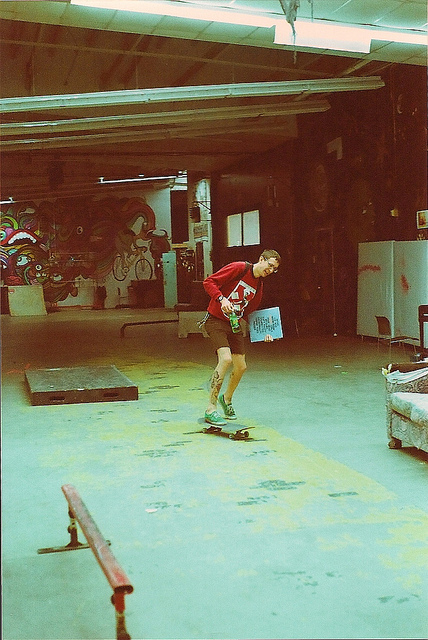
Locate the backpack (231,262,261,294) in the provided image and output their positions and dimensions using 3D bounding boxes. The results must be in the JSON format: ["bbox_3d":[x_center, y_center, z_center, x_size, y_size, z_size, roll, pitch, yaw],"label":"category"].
[{"bbox_3d":[0.273,-0.369,4.585,0.243,0.251,0.182,33,6,-10],"label":"backpack"}]

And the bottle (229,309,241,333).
[{"bbox_3d":[0.164,0.008,4.407,0.082,0.201,0.278,-2,2,5],"label":"bottle"}]

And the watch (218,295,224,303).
[{"bbox_3d":[0.061,-0.176,4.381,0.031,0.046,0.048,33,4,29],"label":"watch"}]

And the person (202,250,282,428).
[{"bbox_3d":[0.209,0.165,4.596,0.617,1.470,0.640,-2,2,-7],"label":"person"}]

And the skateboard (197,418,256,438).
[{"bbox_3d":[0.153,0.891,4.422,0.266,0.079,0.452,-4,3,-42],"label":"skateboard"}]
